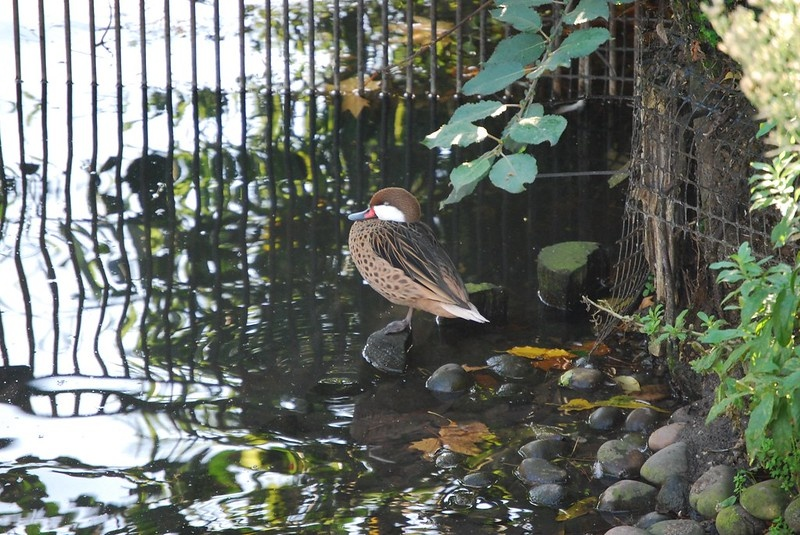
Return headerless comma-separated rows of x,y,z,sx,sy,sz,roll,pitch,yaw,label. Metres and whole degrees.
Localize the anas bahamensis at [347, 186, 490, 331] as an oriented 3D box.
0.037,-0.061,6.832,0.599,0.889,0.818,-11,8,-14,anas bahamensis
